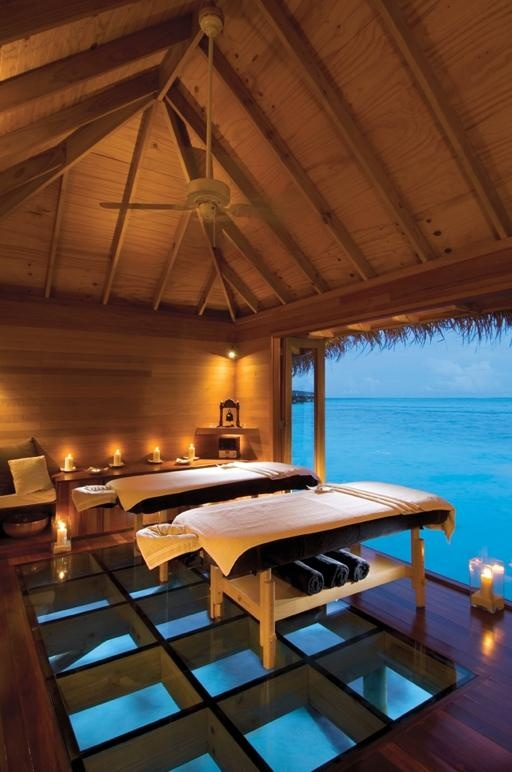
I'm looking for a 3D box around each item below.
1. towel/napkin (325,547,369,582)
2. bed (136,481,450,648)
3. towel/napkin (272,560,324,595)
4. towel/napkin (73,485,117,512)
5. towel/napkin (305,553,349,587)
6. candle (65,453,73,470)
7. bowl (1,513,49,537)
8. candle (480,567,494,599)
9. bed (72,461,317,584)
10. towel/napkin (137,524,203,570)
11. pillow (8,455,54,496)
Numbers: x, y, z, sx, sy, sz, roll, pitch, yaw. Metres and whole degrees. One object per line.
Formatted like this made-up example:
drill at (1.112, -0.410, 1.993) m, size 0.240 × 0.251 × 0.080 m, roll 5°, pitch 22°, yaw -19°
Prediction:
towel/napkin at (0.514, 0.974, 3.005) m, size 0.156 × 0.058 × 0.155 m, roll 6°, pitch 0°, yaw -31°
bed at (0.279, 0.710, 2.967) m, size 1.503 × 0.359 × 0.777 m, roll -5°, pitch 3°, yaw -33°
towel/napkin at (0.238, 0.993, 2.868) m, size 0.160 × 0.138 × 0.311 m, roll -2°, pitch 5°, yaw -32°
towel/napkin at (-1.116, 0.778, 3.761) m, size 0.271 × 0.101 × 0.193 m, roll 1°, pitch -3°, yaw -21°
towel/napkin at (0.370, 0.959, 2.880) m, size 0.161 × 0.065 × 0.160 m, roll 8°, pitch -8°, yaw -27°
candle at (-1.649, 0.685, 4.814) m, size 0.089 × 0.123 × 0.224 m, roll -1°, pitch 4°, yaw -18°
bowl at (-1.835, 1.120, 4.342) m, size 0.346 × 0.176 × 0.251 m, roll -2°, pitch 4°, yaw -23°
candle at (1.326, 1.123, 3.124) m, size 0.070 × 0.165 × 0.057 m, roll 1°, pitch 4°, yaw 19°
bed at (-0.395, 0.884, 3.961) m, size 1.298 × 0.315 × 0.765 m, roll 0°, pitch -2°, yaw -31°
towel/napkin at (-0.437, 0.798, 2.772) m, size 0.294 × 0.120 × 0.230 m, roll -5°, pitch 5°, yaw -36°
pillow at (-1.821, 0.727, 4.367) m, size 0.262 × 0.287 × 0.109 m, roll -13°, pitch -13°, yaw -48°
